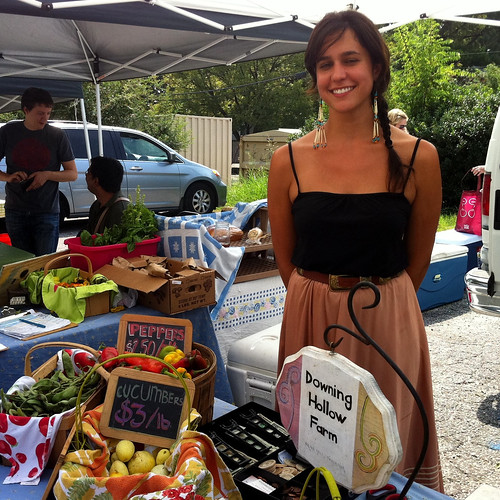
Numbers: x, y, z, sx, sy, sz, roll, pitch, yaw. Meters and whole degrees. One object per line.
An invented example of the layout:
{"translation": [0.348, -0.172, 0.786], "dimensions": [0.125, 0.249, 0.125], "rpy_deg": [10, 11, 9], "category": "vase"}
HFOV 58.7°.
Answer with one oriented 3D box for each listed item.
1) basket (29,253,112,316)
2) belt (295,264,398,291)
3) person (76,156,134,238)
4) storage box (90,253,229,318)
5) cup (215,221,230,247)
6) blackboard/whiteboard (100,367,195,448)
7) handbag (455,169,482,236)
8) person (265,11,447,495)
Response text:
{"translation": [-1.031, 0.205, 2.578], "dimensions": [0.465, 0.269, 0.351], "rpy_deg": [24, 26, 33], "category": "basket"}
{"translation": [0.292, 0.092, 1.472], "dimensions": [0.330, 0.060, 0.098], "rpy_deg": [8, 15, 25], "category": "belt"}
{"translation": [-1.091, -0.400, 3.399], "dimensions": [0.320, 0.600, 0.733], "rpy_deg": [-2, 14, -19], "category": "person"}
{"translation": [-0.575, 0.181, 2.725], "dimensions": [0.515, 0.160, 0.430], "rpy_deg": [13, 16, 42], "category": "storage box"}
{"translation": [-0.255, -0.148, 4.125], "dimensions": [0.144, 0.202, 0.076], "rpy_deg": [-5, -17, -5], "category": "cup"}
{"translation": [-0.303, 0.454, 1.294], "dimensions": [0.253, 0.168, 0.131], "rpy_deg": [3, 14, 4], "category": "blackboard/whiteboard"}
{"translation": [3.136, -0.671, 6.243], "dimensions": [0.282, 0.896, 0.450], "rpy_deg": [-8, 10, -24], "category": "handbag"}
{"translation": [0.404, 0.042, 1.554], "dimensions": [0.484, 1.625, 0.603], "rpy_deg": [-5, 16, -29], "category": "person"}
